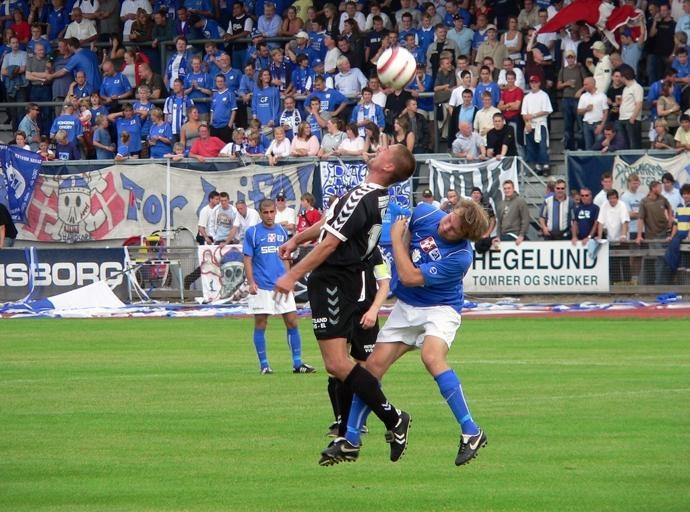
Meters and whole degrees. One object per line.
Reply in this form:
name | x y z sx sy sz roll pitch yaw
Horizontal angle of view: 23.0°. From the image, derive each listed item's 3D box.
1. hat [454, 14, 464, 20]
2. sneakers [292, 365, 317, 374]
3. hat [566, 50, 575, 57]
hat | 2.772 -5.688 40.766 0.189 0.149 0.251 -3 3 -34
sneakers | -0.712 2.104 31.309 0.424 0.181 0.155 -2 -5 10
hat | 5.260 -4.661 39.453 0.222 0.176 0.340 -1 3 2
